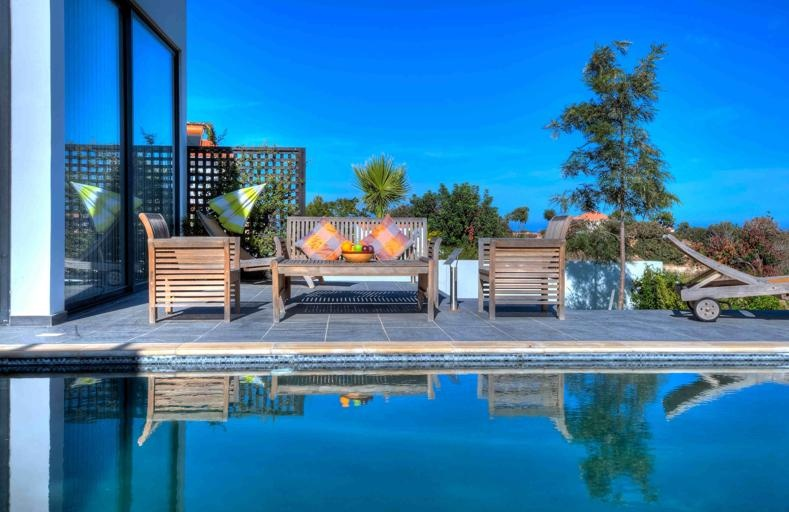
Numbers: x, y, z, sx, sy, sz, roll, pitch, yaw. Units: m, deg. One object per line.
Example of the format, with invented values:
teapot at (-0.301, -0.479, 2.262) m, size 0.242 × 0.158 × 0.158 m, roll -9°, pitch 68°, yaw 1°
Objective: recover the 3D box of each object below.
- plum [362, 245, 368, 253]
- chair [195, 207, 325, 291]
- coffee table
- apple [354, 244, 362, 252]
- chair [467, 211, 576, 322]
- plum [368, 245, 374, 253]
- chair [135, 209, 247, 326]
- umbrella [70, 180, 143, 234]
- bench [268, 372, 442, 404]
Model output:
plum at (-0.333, -0.063, 7.175) m, size 0.066 × 0.079 × 0.067 m, roll 5°, pitch 31°, yaw -3°
chair at (-2.349, -0.008, 10.056) m, size 1.787 × 1.148 × 0.809 m, roll 13°, pitch -1°, yaw -42°
coffee table at (-0.456, 0.351, 7.517) m, size 1.940 × 0.699 × 1.573 m, roll 0°, pitch 4°, yaw -3°
apple at (-0.414, -0.070, 7.218) m, size 0.073 × 0.089 × 0.074 m, roll -4°, pitch 36°, yaw 9°
chair at (1.548, 0.152, 7.623) m, size 1.026 × 1.130 × 1.409 m, roll 0°, pitch 1°, yaw -2°
plum at (-0.264, -0.063, 7.219) m, size 0.063 × 0.076 × 0.064 m, roll -2°, pitch 5°, yaw 0°
chair at (-2.443, 0.154, 7.394) m, size 1.180 × 1.462 × 1.256 m, roll 0°, pitch 0°, yaw -5°
umbrella at (-3.907, -0.656, 8.214) m, size 0.431 × 0.781 × 0.848 m, roll 21°, pitch -1°, yaw 21°
bench at (-0.375, 1.131, 5.360) m, size 1.473 × 0.080 × 0.629 m, roll 0°, pitch 4°, yaw -1°
